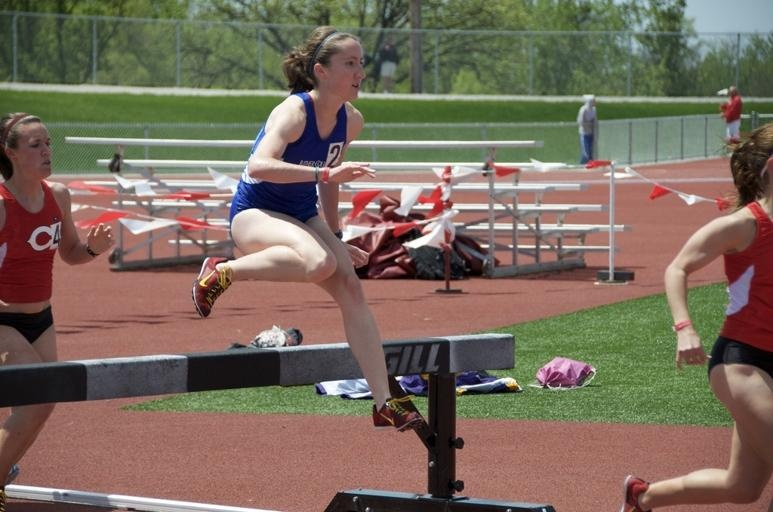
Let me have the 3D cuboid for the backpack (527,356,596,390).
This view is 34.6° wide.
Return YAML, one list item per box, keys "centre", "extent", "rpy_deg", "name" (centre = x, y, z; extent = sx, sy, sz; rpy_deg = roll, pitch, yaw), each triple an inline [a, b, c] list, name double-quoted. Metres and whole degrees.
- centre: [1.636, 1.042, 11.160]
  extent: [0.410, 0.136, 0.304]
  rpy_deg: [-2, 3, -42]
  name: "backpack"

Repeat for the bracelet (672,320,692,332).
- centre: [1.860, 0.427, 7.802]
  extent: [0.097, 0.033, 0.078]
  rpy_deg: [-7, -11, -41]
  name: "bracelet"

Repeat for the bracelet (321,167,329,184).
- centre: [-0.409, -0.544, 8.242]
  extent: [0.066, 0.091, 0.146]
  rpy_deg: [-1, 5, -4]
  name: "bracelet"

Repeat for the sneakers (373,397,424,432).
- centre: [0.076, 1.035, 8.180]
  extent: [0.332, 0.229, 0.206]
  rpy_deg: [-1, 5, 0]
  name: "sneakers"
